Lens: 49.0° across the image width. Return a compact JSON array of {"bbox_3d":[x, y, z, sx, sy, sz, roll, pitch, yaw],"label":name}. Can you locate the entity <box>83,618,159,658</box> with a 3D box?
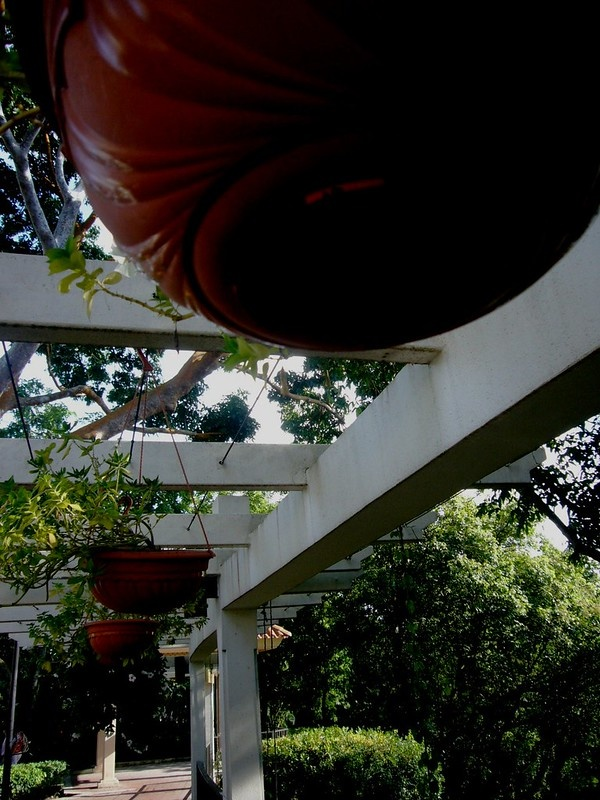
[{"bbox_3d":[-0.546,0.713,1.952,0.267,0.121,0.182,-17,-19,36],"label":"entity"}]

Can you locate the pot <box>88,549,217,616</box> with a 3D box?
[{"bbox_3d":[-0.371,0.428,1.542,0.307,0.154,0.215,-14,-18,29],"label":"pot"}]
